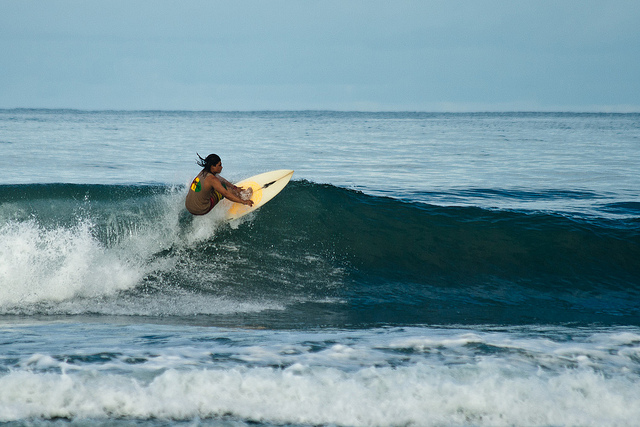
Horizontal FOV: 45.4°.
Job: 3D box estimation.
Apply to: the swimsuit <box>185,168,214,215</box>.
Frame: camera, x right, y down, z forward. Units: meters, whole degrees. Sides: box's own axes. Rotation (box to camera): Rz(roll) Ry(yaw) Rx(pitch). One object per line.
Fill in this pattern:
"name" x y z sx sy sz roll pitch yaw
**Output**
"swimsuit" -2.666 -0.455 16.720 0.556 0.931 0.786 7 -5 -34
